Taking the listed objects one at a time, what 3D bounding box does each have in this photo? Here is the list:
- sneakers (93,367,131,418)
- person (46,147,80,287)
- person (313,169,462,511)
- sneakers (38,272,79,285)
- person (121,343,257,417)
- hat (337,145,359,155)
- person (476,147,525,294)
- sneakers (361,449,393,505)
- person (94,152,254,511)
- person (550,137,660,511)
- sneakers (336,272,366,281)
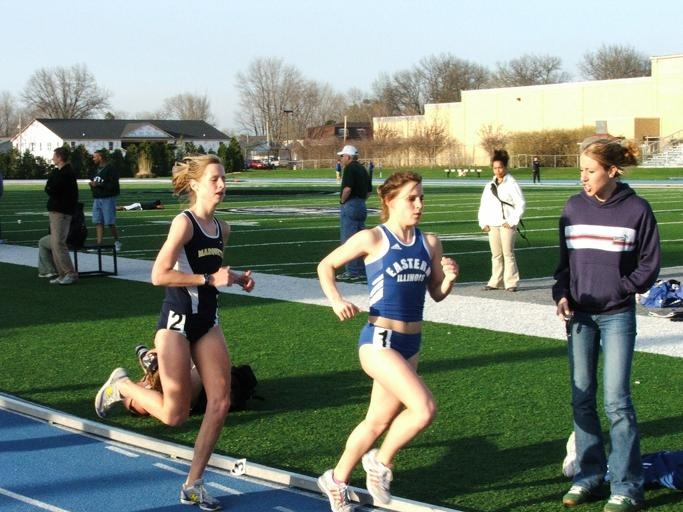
[{"bbox_3d":[-2.050,1.233,5.588,0.201,0.506,0.223,24,17,-32],"label":"sneakers"},{"bbox_3d":[-5.339,-0.758,11.953,0.644,2.593,0.583,-8,9,-24],"label":"person"},{"bbox_3d":[0.312,0.547,4.120,0.835,2.168,0.897,0,9,25],"label":"person"},{"bbox_3d":[-5.542,0.430,12.269,0.575,0.218,0.199,7,2,3],"label":"sneakers"},{"bbox_3d":[-1.400,1.206,5.775,0.888,0.342,0.854,2,4,14],"label":"person"},{"bbox_3d":[0.083,-2.079,12.390,0.418,0.195,0.317,7,10,22],"label":"hat"},{"bbox_3d":[2.923,-0.677,11.343,0.797,2.487,1.302,-2,8,14],"label":"person"},{"bbox_3d":[0.235,1.405,4.024,0.172,0.376,0.203,-4,8,0],"label":"sneakers"},{"bbox_3d":[-1.116,0.426,4.489,0.914,2.262,1.371,-7,9,-22],"label":"person"},{"bbox_3d":[1.748,0.403,4.113,0.658,2.351,0.869,-2,9,18],"label":"person"},{"bbox_3d":[0.188,0.366,12.510,0.570,0.214,0.203,3,5,0],"label":"sneakers"}]
